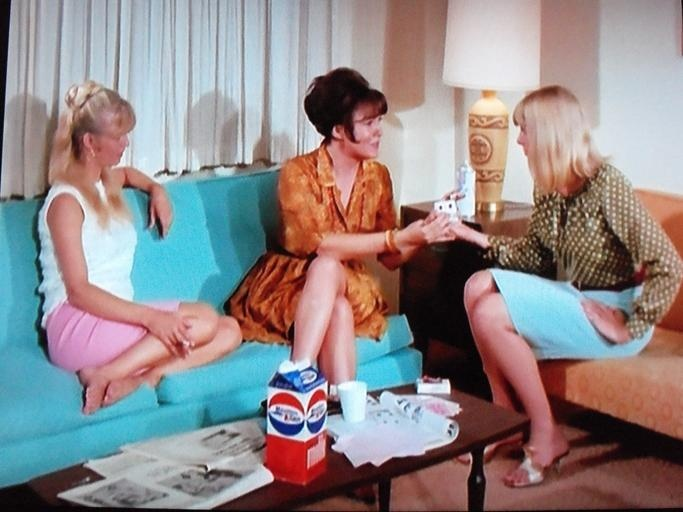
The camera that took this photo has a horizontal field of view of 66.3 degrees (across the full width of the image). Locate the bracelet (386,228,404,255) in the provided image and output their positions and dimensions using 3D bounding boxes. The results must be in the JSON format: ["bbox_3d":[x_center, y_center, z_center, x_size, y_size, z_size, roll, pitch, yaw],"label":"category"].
[{"bbox_3d":[0.184,-0.048,1.814,0.023,0.073,0.064,1,12,24],"label":"bracelet"}]

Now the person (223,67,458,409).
[{"bbox_3d":[-0.040,0.018,1.835,0.580,1.446,0.789,5,-6,-14],"label":"person"}]

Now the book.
[{"bbox_3d":[0.098,0.390,1.166,0.174,0.051,0.187,-10,20,-34],"label":"book"}]

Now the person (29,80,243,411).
[{"bbox_3d":[-0.666,-0.064,1.727,0.503,0.928,0.535,6,12,12],"label":"person"}]

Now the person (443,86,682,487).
[{"bbox_3d":[0.734,0.070,2.411,0.951,2.127,0.908,3,0,9],"label":"person"}]
